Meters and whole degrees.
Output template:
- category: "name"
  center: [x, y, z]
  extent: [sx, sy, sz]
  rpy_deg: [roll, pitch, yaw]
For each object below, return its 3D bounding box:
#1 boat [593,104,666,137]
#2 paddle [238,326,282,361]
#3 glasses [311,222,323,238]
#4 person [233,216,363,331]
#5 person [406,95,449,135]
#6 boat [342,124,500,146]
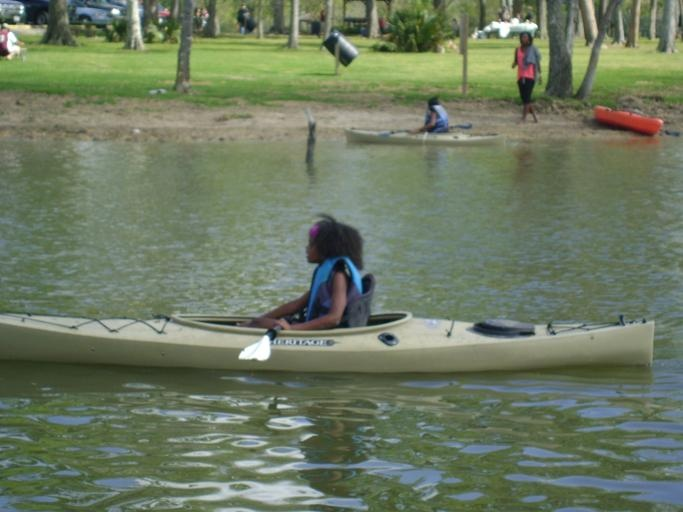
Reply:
- category: "boat"
  center: [7.122, -3.361, 35.230]
  extent: [0.663, 0.685, 2.046]
  rpy_deg: [-8, 11, -39]
- category: "paddle"
  center: [-1.102, 1.295, 19.631]
  extent: [0.317, 0.173, 0.681]
  rpy_deg: [24, 39, 20]
- category: "glasses"
  center: [-0.366, -0.301, 19.770]
  extent: [0.099, 0.157, 0.209]
  rpy_deg: [26, -27, 7]
- category: "person"
  center: [-0.373, 0.242, 19.930]
  extent: [1.344, 1.641, 0.513]
  rpy_deg: [1, 10, 11]
- category: "person"
  center: [2.070, -3.235, 32.838]
  extent: [1.108, 0.964, 0.792]
  rpy_deg: [3, 3, 0]
- category: "boat"
  center: [1.797, -2.802, 33.013]
  extent: [3.536, 0.415, 0.663]
  rpy_deg: [1, 13, 3]
